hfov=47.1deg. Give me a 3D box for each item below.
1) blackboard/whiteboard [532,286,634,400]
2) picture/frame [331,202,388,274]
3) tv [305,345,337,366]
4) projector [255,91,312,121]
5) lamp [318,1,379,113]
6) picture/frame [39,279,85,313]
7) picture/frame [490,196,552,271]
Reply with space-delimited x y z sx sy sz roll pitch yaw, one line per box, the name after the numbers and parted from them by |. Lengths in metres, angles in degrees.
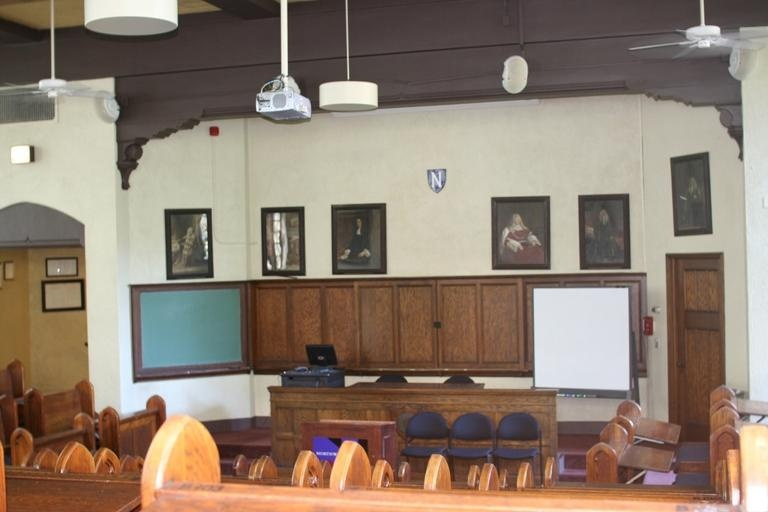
3.196 1.381 13.851 1.510 1.912 0.166 -1 -5 17 | blackboard/whiteboard
-0.381 -0.297 14.812 1.003 1.385 0.062 0 -1 9 | picture/frame
-0.920 1.453 13.383 0.372 0.306 0.325 1 14 14 | tv
-1.017 -1.523 8.841 0.522 0.329 0.249 -5 15 -10 | projector
-0.466 -2.771 12.175 0.736 1.516 1.983 -2 15 1 | lamp
-5.707 0.690 15.463 0.504 0.490 0.045 -1 4 -25 | picture/frame
2.284 -0.375 14.429 1.026 1.465 0.099 0 1 8 | picture/frame
